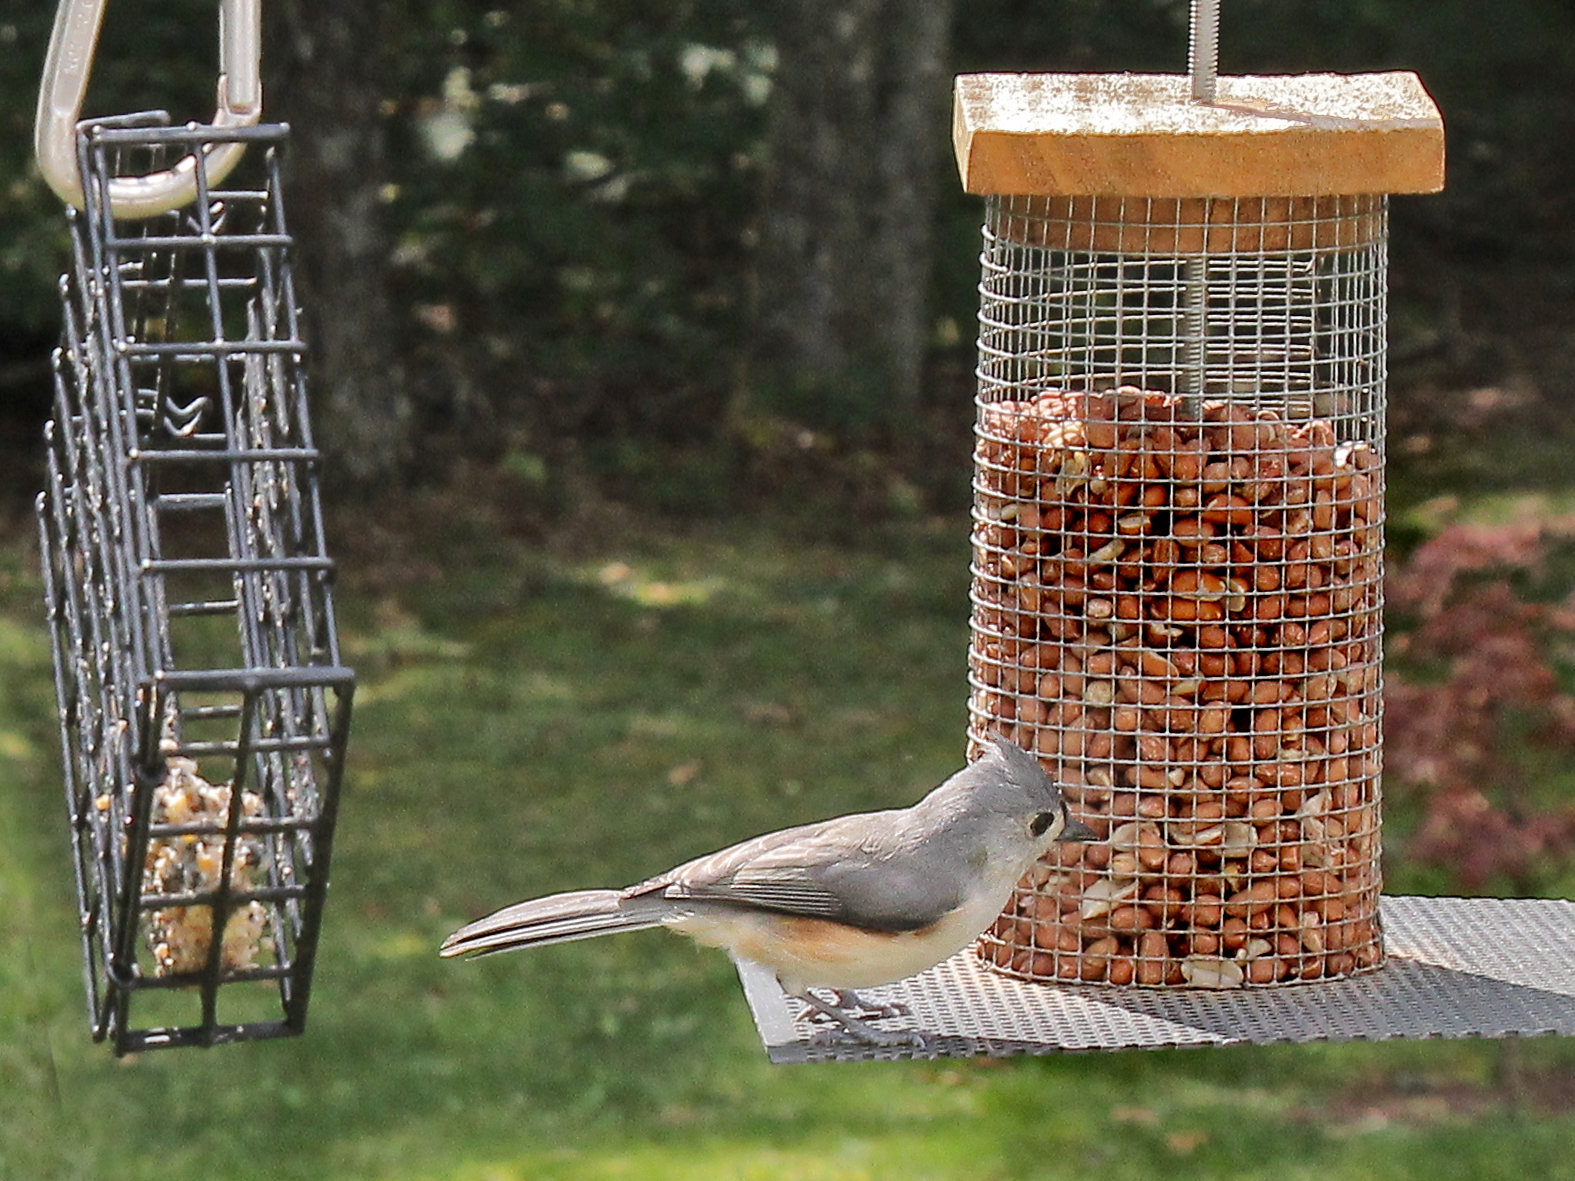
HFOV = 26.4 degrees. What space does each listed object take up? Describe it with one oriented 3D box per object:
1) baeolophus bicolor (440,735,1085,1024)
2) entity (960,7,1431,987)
[{"bbox_3d":[0.022,0.572,6.770,1.111,0.473,0.224,-2,16,-1],"label":"baeolophus bicolor"},{"bbox_3d":[0.868,-0.101,7.332,1.017,2.201,0.933,0,3,2],"label":"entity"}]
